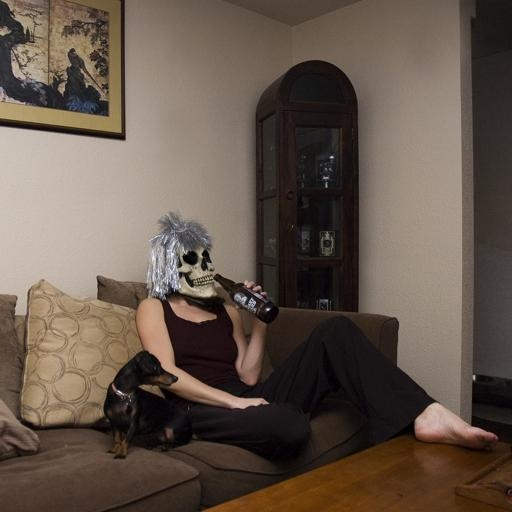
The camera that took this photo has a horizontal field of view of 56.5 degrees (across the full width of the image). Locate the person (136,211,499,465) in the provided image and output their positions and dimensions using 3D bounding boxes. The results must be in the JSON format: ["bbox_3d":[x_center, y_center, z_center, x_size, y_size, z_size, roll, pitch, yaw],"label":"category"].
[{"bbox_3d":[0.112,0.240,1.524,1.172,0.710,0.572,-3,-10,25],"label":"person"}]

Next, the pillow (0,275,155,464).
[{"bbox_3d":[-0.666,0.368,1.624,0.442,0.430,0.133,18,-39,-37],"label":"pillow"}]
